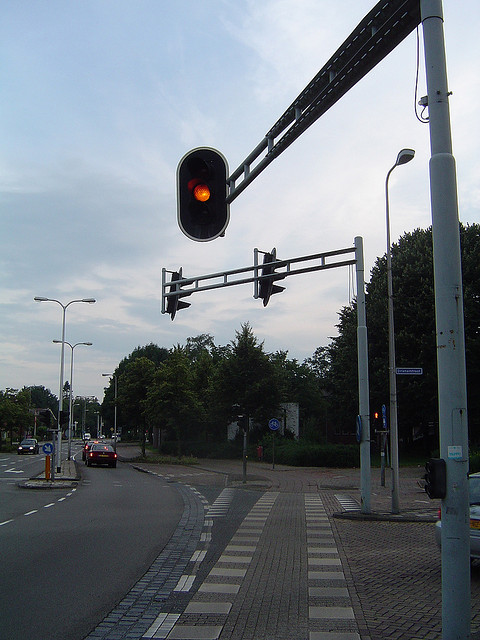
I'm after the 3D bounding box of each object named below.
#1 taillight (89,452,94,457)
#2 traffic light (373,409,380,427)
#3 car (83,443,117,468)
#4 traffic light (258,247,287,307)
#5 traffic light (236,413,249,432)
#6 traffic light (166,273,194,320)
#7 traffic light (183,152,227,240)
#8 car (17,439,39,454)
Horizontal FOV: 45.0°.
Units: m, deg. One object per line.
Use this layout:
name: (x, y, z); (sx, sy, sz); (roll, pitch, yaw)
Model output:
taillight: (-8.836, 8.204, 34.763); (0.236, 0.533, 0.266); (4, -7, -29)
traffic light: (4.036, 3.025, 17.187); (0.182, 0.410, 0.810); (-2, -11, 13)
car: (-8.394, 8.491, 35.741); (1.028, 0.958, 2.559); (3, -3, -10)
traffic light: (0.587, -0.694, 10.475); (0.467, 1.205, 1.524); (0, -10, 5)
traffic light: (0.146, 4.110, 22.763); (0.329, 0.598, 1.085); (-1, -11, 8)
traffic light: (-1.111, -0.507, 10.932); (0.412, 0.998, 0.514); (7, -20, 2)
traffic light: (-0.397, -1.484, 6.676); (0.510, 1.011, 0.382); (1, -8, -7)
car: (-21.917, 13.441, 60.693); (1.171, 1.271, 2.308); (1, -15, -11)
